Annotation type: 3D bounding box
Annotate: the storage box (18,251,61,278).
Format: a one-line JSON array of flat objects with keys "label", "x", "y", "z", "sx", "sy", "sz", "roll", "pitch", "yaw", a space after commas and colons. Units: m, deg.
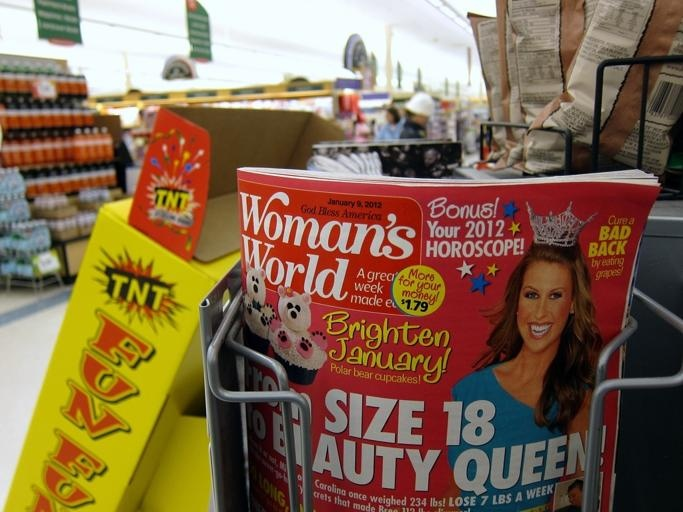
[{"label": "storage box", "x": -2.637, "y": 0.076, "z": 4.956, "sx": 0.244, "sy": 0.105, "sz": 0.207, "roll": 3, "pitch": 13, "yaw": 40}]
